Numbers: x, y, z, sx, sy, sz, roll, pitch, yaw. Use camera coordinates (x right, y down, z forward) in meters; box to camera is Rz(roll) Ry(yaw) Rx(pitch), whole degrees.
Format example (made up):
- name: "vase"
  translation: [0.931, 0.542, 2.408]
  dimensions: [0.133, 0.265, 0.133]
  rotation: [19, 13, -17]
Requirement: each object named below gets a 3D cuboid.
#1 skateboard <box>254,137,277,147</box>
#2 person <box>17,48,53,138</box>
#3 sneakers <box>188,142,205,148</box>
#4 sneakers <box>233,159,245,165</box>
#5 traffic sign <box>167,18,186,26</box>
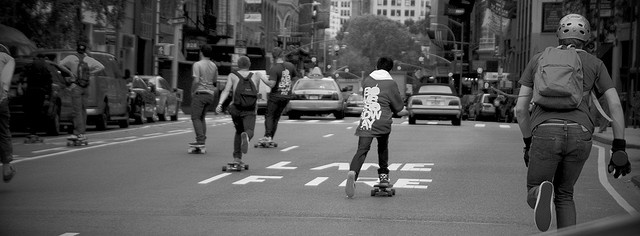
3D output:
- name: "skateboard"
  translation: [-2.448, 1.108, 23.499]
  dimensions: [0.936, 0.334, 0.468]
  rotation: [2, -2, -10]
- name: "person"
  translation: [-12.596, -1.018, 23.145]
  dimensions: [1.241, 3.258, 0.835]
  rotation: [-3, 9, -20]
- name: "sneakers"
  translation: [-5.174, 1.143, 21.751]
  dimensions: [0.647, 0.216, 0.223]
  rotation: [3, 1, 4]
- name: "sneakers"
  translation: [-2.975, 1.561, 18.865]
  dimensions: [0.276, 0.218, 0.274]
  rotation: [0, 8, 3]
- name: "traffic sign"
  translation: [-12.938, -8.805, 47.038]
  dimensions: [1.816, 0.434, 0.547]
  rotation: [6, 10, 39]
